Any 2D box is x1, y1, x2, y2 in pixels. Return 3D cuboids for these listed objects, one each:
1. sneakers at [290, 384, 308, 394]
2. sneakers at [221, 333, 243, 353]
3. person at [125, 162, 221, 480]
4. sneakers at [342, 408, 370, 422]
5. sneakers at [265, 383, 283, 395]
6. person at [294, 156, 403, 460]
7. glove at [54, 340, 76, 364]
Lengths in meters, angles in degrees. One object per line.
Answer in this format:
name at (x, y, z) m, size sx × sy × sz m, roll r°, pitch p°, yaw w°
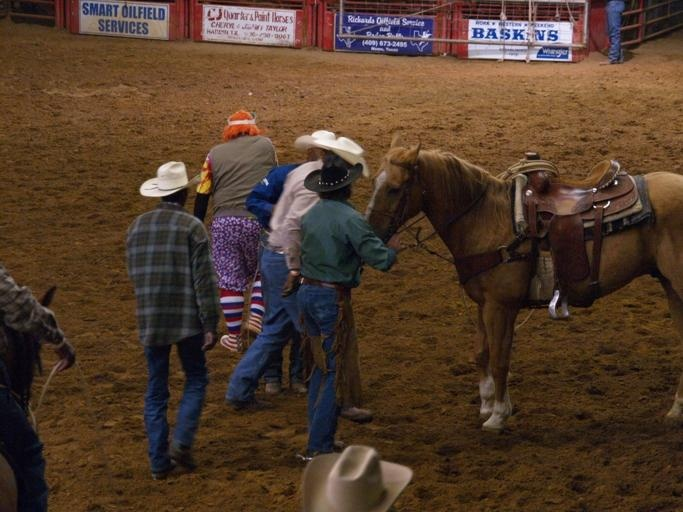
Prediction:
sneakers at (-0.407, 1.247, 7.442) m, size 0.080 × 0.052 × 0.141 m, roll -5°, pitch 0°, yaw -43°
sneakers at (-1.077, 0.848, 7.958) m, size 0.148 × 0.187 × 0.292 m, roll -3°, pitch 23°, yaw -16°
person at (-1.349, 0.498, 6.331) m, size 0.649 × 2.415 × 0.754 m, roll -8°, pitch 15°, yaw -24°
sneakers at (0.107, 1.280, 6.430) m, size 0.218 × 0.080 × 0.117 m, roll 4°, pitch 3°, yaw -2°
sneakers at (-0.632, 1.245, 7.417) m, size 0.123 × 0.059 × 0.192 m, roll 2°, pitch -1°, yaw -3°
person at (-0.012, 0.544, 6.253) m, size 0.705 × 2.183 × 0.482 m, roll -3°, pitch 14°, yaw -3°
glove at (-1.872, 0.678, 5.498) m, size 0.137 × 0.166 × 0.065 m, roll -11°, pitch 16°, yaw 23°
